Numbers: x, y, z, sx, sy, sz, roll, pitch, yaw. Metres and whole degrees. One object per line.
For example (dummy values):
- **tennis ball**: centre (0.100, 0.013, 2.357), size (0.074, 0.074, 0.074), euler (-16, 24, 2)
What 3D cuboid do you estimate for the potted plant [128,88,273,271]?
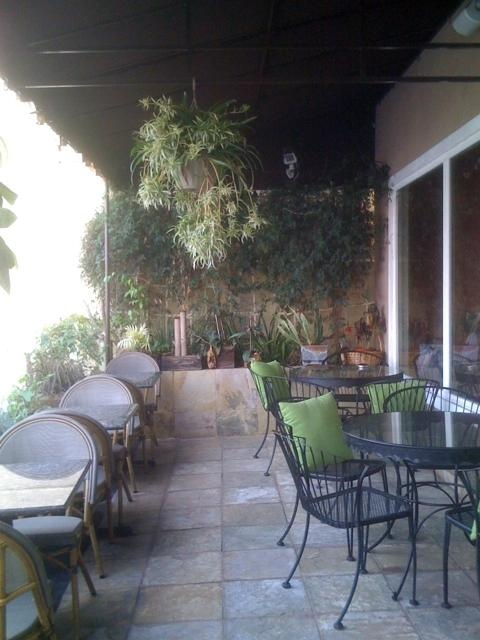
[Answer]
- **potted plant**: centre (-0.230, -0.849, 2.611), size (0.589, 0.829, 0.591), euler (13, 1, -44)

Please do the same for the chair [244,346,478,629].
- **chair**: centre (0.435, 0.613, 2.619), size (0.781, 1.278, 0.769), euler (-2, 2, -32)
